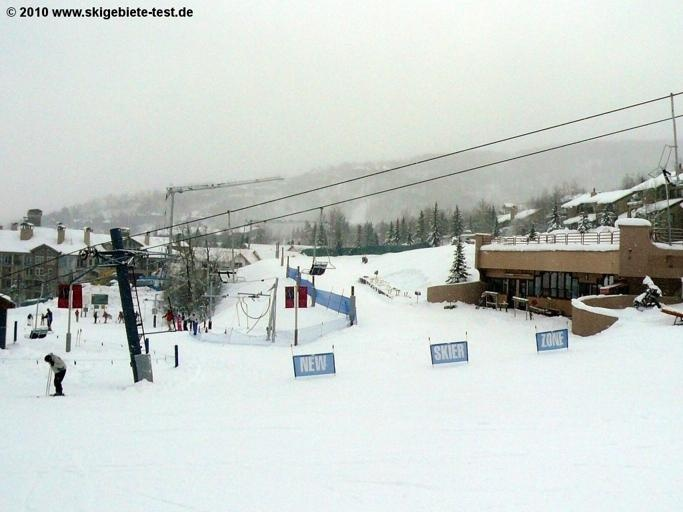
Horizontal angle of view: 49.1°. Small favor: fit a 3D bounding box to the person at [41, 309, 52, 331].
[{"bbox_3d":[-22.767,4.962,57.549,0.576,1.782,0.810,-6,-27,2],"label":"person"}]
